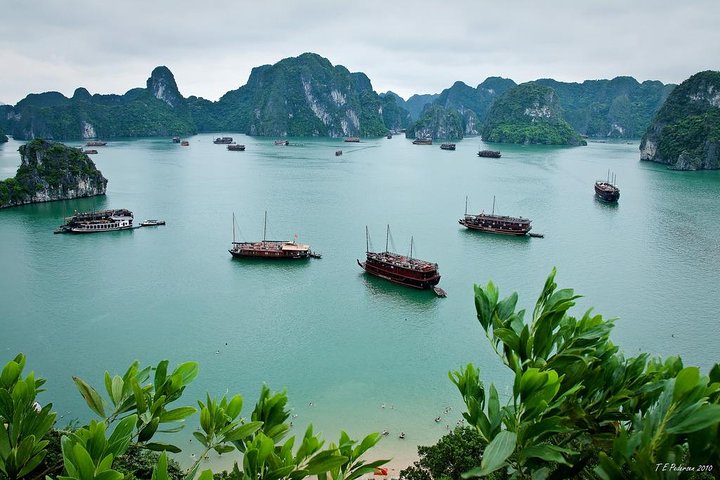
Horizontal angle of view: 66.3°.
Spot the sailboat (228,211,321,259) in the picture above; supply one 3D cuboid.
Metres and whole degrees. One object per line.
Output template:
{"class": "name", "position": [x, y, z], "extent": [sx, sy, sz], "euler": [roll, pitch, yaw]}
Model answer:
{"class": "sailboat", "position": [-7.598, -0.021, 48.276], "extent": [7.390, 3.815, 2.281], "euler": [1, 11, -1]}

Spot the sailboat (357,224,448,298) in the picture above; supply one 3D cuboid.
{"class": "sailboat", "position": [2.913, 1.230, 43.003], "extent": [8.448, 3.829, 3.075], "euler": [14, 13, 37]}

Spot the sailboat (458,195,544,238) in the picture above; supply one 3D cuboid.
{"class": "sailboat", "position": [14.266, -1.429, 56.574], "extent": [7.586, 1.742, 2.093], "euler": [8, 9, 33]}
